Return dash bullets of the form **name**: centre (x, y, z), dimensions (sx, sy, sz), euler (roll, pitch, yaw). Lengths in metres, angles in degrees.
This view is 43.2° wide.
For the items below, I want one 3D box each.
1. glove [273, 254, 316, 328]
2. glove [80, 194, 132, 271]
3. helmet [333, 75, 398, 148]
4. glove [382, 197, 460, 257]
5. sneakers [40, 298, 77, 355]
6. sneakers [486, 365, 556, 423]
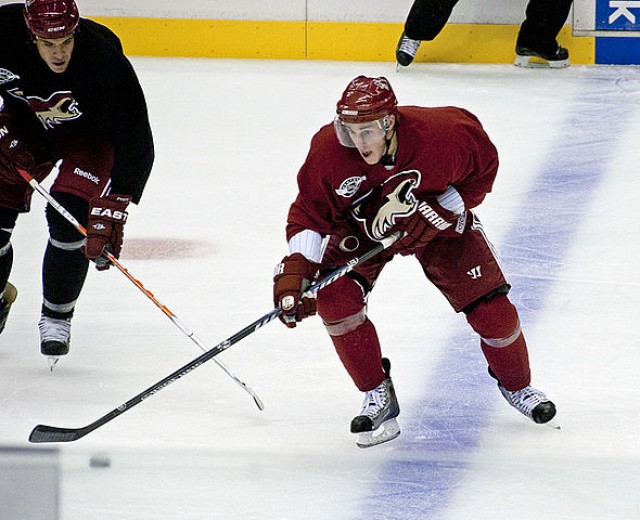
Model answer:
- **glove**: centre (-0.069, 0.093, 2.387), dimensions (0.130, 0.206, 0.175), euler (1, 22, -1)
- **glove**: centre (-0.719, -0.088, 2.700), dimensions (0.188, 0.235, 0.073), euler (8, -7, -6)
- **helmet**: centre (0.139, -0.422, 2.331), dimensions (0.165, 0.194, 0.218), euler (9, 22, 20)
- **glove**: centre (0.283, -0.103, 2.448), dimensions (0.069, 0.206, 0.142), euler (62, 11, 25)
- **sneakers**: centre (-0.938, 0.246, 2.883), dimensions (0.100, 0.104, 0.234), euler (-1, 51, -8)
- **sneakers**: centre (0.639, 0.414, 2.522), dimensions (0.076, 0.102, 0.239), euler (-41, 20, -2)
